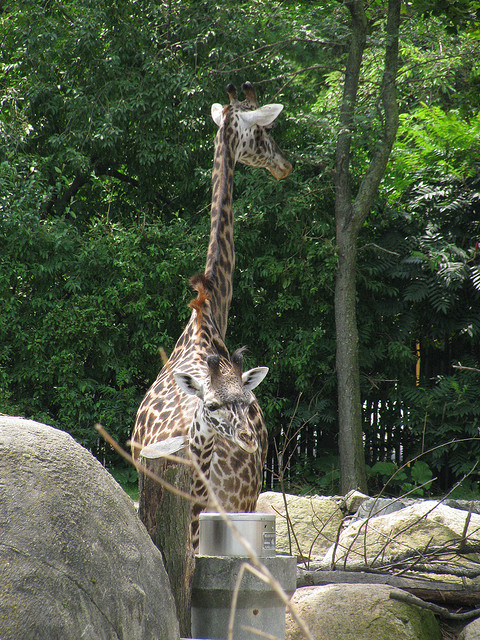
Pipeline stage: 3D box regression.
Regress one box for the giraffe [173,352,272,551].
[{"bbox_3d":[-0.179,1.041,12.563,0.722,1.544,2.122,1,2,0],"label":"giraffe"}]
